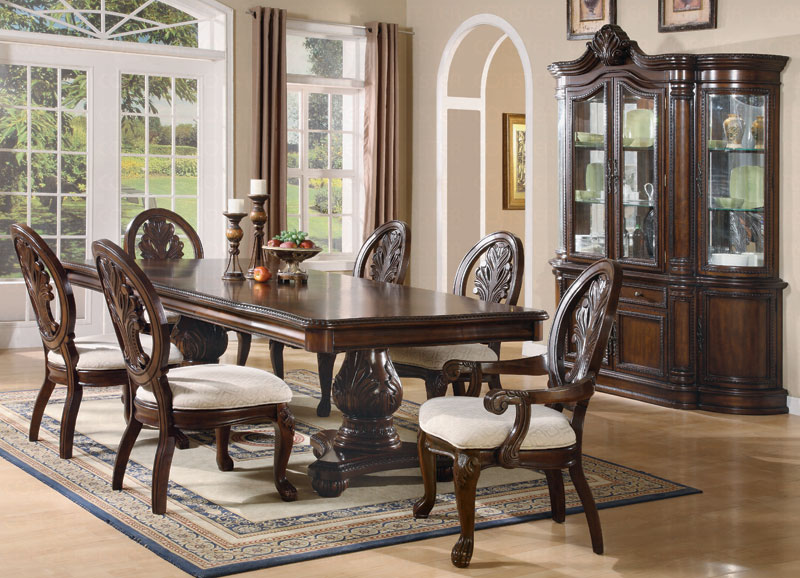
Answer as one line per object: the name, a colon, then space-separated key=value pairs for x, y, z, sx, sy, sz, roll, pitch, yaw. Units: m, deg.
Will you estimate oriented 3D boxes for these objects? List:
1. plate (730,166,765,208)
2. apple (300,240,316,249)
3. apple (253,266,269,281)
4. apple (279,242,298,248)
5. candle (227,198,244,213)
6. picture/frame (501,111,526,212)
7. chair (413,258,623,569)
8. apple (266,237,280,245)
plate: x=2.248 y=-0.664 z=4.537 sx=0.197 sy=0.283 sz=0.032 roll=3 pitch=7 yaw=11
apple: x=-0.486 y=-0.221 z=3.618 sx=0.065 sy=0.048 sz=0.057 roll=8 pitch=26 yaw=1
apple: x=-0.723 y=-0.084 z=3.678 sx=0.080 sy=0.068 sz=0.079 roll=-13 pitch=19 yaw=-43
apple: x=-0.584 y=-0.226 z=3.612 sx=0.049 sy=0.026 sz=0.052 roll=-3 pitch=8 yaw=4
candle: x=-0.909 y=-0.456 z=3.856 sx=0.078 sy=0.072 sz=0.125 roll=0 pitch=6 yaw=-9
picture/frame: x=1.214 y=-1.380 z=7.557 sx=0.288 sy=1.039 sz=0.094 roll=-2 pitch=7 yaw=-29
chair: x=0.413 y=0.413 z=2.620 sx=0.696 sy=1.054 sz=0.647 roll=1 pitch=6 yaw=0
apple: x=-0.666 y=-0.252 z=3.705 sx=0.082 sy=0.038 sz=0.080 roll=2 pitch=10 yaw=37
